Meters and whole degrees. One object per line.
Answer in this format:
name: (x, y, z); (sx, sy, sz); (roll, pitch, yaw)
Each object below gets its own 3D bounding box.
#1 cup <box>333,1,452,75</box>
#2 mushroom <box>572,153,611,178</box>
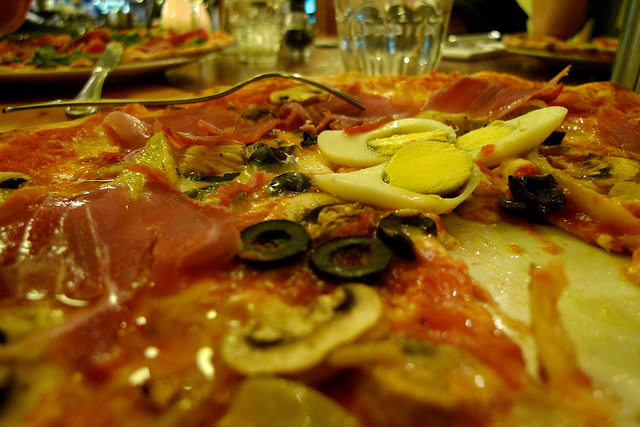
cup: (0.306, -0.749, 2.376); (0.417, 0.420, 0.393); (0, 19, 0)
mushroom: (0.661, -0.119, 1.299); (0.020, 0.101, 0.062); (10, 64, 42)
